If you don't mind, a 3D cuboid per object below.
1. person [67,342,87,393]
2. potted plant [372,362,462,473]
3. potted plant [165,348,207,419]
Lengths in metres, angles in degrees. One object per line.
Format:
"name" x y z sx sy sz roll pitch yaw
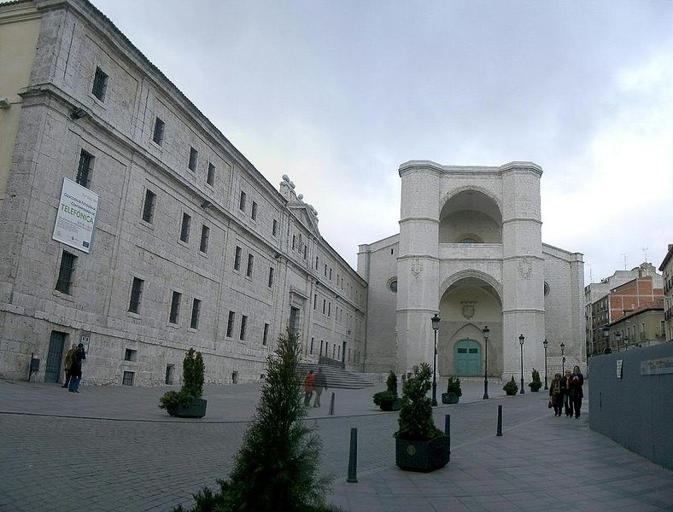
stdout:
"person" -9.638 4.116 16.793 0.410 1.745 0.740 10 -18 -29
"potted plant" 1.814 3.423 9.817 1.136 2.206 0.731 15 -22 -41
"potted plant" -4.989 4.240 15.224 1.256 2.254 0.900 5 -17 -14
